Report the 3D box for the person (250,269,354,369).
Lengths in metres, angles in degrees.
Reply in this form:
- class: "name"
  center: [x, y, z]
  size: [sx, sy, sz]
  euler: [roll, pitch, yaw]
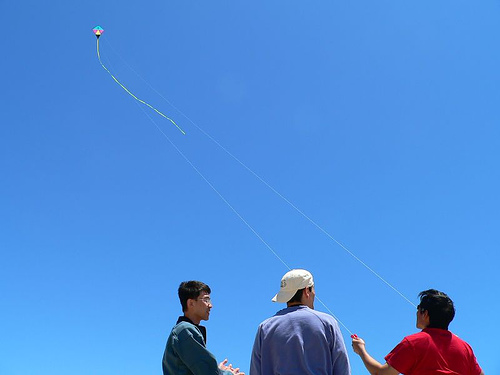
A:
- class: "person"
  center: [0.619, 1.661, 7.781]
  size: [1.129, 1.066, 0.762]
  euler: [3, -50, 1]
